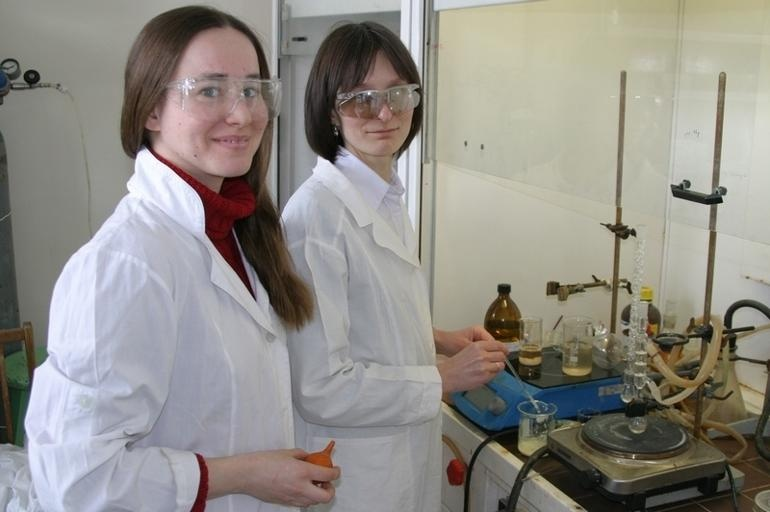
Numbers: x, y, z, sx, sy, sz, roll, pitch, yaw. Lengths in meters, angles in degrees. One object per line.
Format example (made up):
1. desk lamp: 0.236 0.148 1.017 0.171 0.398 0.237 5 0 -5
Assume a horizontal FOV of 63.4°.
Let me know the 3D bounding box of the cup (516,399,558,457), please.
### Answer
1. cup: 0.470 0.551 2.035 0.148 0.171 0.155 0 -2 0

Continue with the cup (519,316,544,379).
1. cup: 0.510 0.321 2.197 0.087 0.184 0.189 -1 6 13

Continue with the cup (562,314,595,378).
1. cup: 0.667 0.314 2.190 0.127 0.210 0.129 1 5 0
